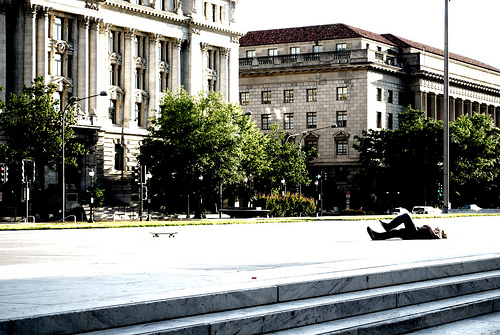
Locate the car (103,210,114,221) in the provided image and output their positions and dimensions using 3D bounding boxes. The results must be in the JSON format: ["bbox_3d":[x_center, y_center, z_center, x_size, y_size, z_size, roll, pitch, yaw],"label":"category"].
[{"bbox_3d":[-11.658,3.894,68.813,0.762,0.726,1.928,0,-2,-11],"label":"car"}]

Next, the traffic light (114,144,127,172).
[{"bbox_3d":[-12.222,-1.002,79.597,1.138,2.486,0.727,0,-1,-9],"label":"traffic light"}]

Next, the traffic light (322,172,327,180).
[{"bbox_3d":[9.007,1.055,102.812,0.666,1.114,0.692,-1,1,-9],"label":"traffic light"}]
